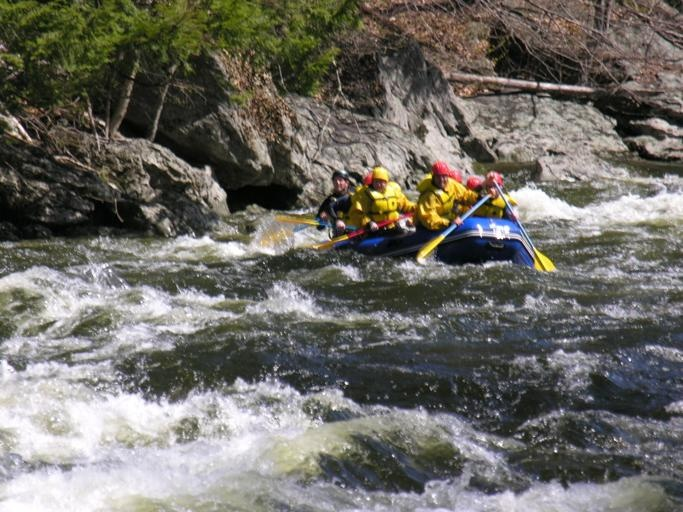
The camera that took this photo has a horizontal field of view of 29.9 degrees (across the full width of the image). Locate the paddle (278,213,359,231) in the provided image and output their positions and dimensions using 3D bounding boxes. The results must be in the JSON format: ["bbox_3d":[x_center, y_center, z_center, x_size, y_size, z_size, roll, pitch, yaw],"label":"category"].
[{"bbox_3d":[-0.227,-0.720,27.490,1.647,0.239,0.128,9,-27,36],"label":"paddle"}]

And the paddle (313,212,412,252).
[{"bbox_3d":[0.706,-0.503,26.542,1.756,0.154,0.208,-20,30,8],"label":"paddle"}]

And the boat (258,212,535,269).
[{"bbox_3d":[1.695,-0.271,26.138,3.576,0.828,2.044,6,0,28],"label":"boat"}]

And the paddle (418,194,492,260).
[{"bbox_3d":[2.332,-0.540,25.738,1.872,0.212,0.103,-42,-8,-10],"label":"paddle"}]
